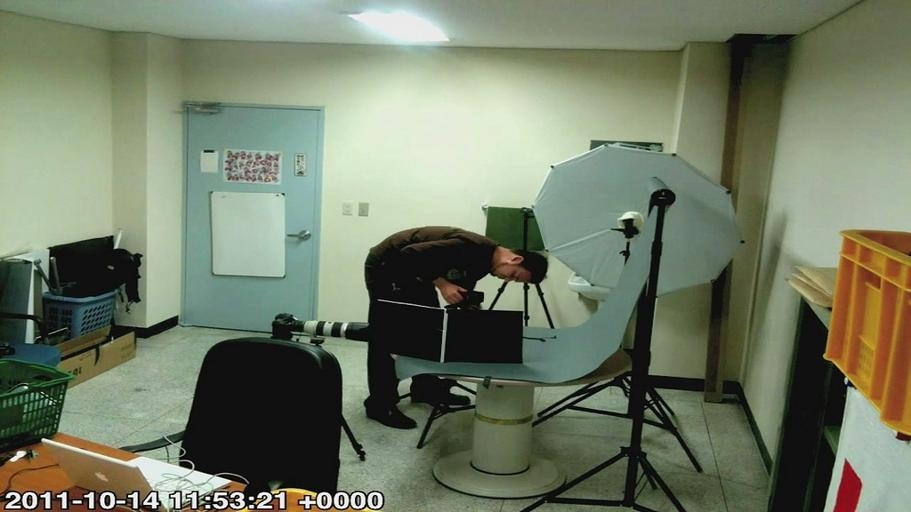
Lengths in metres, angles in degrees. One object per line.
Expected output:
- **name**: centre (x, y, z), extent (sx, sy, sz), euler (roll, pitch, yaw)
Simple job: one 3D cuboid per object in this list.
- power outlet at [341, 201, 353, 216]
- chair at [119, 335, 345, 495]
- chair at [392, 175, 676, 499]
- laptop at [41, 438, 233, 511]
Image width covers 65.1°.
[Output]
- **power outlet**: centre (-1.097, -0.494, 7.243), extent (0.152, 0.115, 0.032), euler (3, 0, 4)
- **chair**: centre (-1.179, 0.905, 4.573), extent (1.000, 1.058, 1.001), euler (7, 1, 2)
- **chair**: centre (0.741, 0.833, 6.157), extent (2.884, 2.230, 1.809), euler (2, 5, 7)
- **laptop**: centre (-1.738, 1.194, 3.835), extent (0.679, 0.327, 0.559), euler (6, 8, 19)
